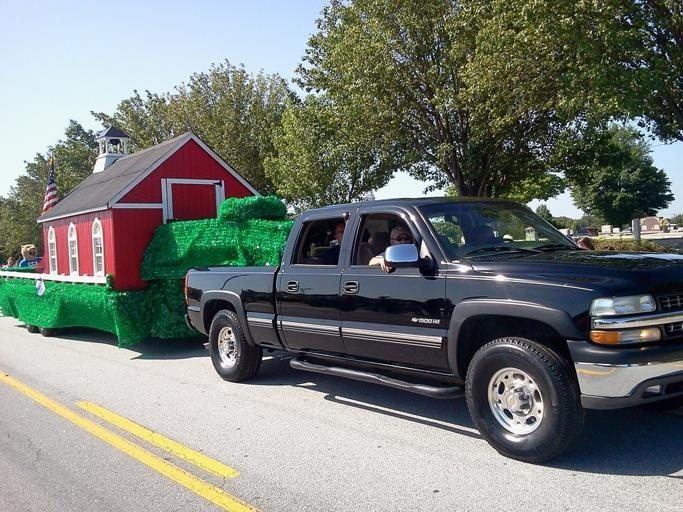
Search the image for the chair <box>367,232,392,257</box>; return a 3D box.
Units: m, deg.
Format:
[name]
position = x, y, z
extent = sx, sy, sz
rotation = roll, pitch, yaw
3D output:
[chair]
position = 0.453, -0.140, 5.992
extent = 0.210, 0.345, 0.346
rotation = 4, -10, -19
